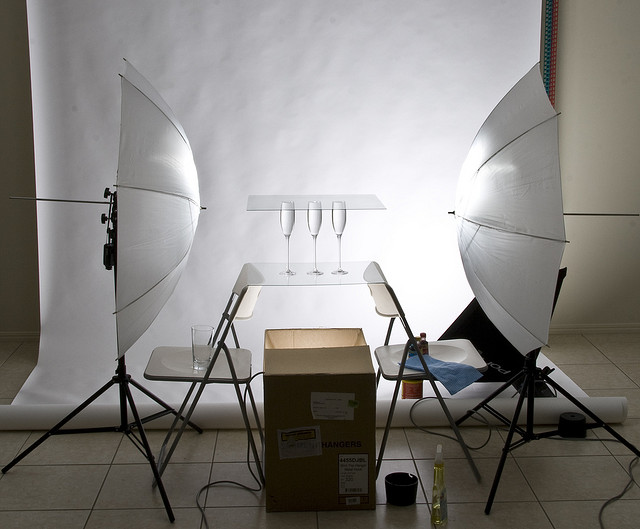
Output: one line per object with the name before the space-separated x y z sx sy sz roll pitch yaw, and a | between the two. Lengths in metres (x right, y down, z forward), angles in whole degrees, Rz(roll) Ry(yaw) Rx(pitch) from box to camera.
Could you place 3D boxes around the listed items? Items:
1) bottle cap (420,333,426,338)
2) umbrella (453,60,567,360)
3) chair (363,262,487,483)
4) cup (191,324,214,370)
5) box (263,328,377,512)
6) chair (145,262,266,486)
bottle cap | 0.503 0.340 2.458 0.023 0.028 0.026 1 -2 4
umbrella | 0.775 -0.200 2.359 0.323 1.201 1.135 0 14 5
chair | 0.473 0.340 2.762 0.719 1.485 0.781 -3 10 1
cup | -0.512 0.368 2.243 0.098 0.196 0.109 -1 -8 13
box | -0.031 0.751 2.318 0.411 0.704 0.652 8 -22 -12
chair | -0.503 0.479 2.309 0.462 0.894 0.465 5 7 -6
